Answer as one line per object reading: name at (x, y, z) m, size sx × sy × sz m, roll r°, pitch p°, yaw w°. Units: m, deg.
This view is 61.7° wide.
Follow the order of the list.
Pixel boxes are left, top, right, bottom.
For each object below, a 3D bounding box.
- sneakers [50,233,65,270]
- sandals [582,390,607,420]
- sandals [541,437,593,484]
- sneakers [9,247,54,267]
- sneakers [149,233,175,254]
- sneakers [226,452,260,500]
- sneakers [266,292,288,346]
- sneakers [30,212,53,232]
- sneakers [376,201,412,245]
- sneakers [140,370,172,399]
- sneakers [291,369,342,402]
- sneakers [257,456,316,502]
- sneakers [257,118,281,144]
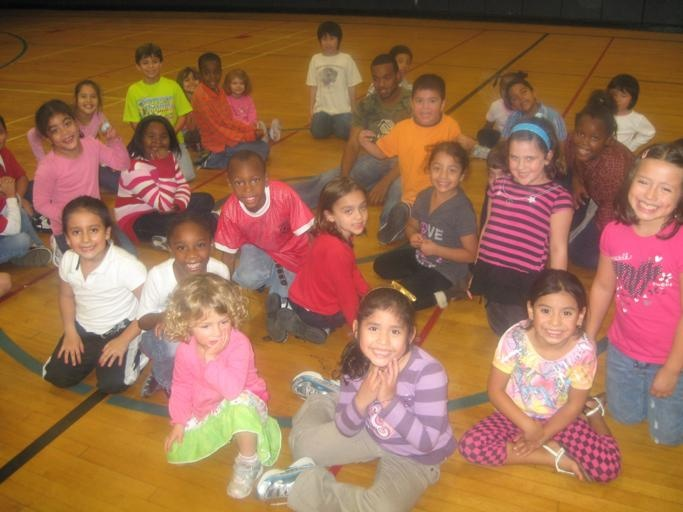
sneakers at (-2.294, -0.036, 4.631) m, size 0.109 × 0.124 × 0.310 m, roll -8°, pitch 58°, yaw -13°
sandals at (1.572, 0.917, 3.556) m, size 0.134 × 0.076 × 0.185 m, roll -2°, pitch 9°, yaw 33°
sandals at (1.294, 1.180, 3.279) m, size 0.274 × 0.127 × 0.075 m, roll 41°, pitch 24°, yaw 12°
sneakers at (-2.780, 0.012, 5.130) m, size 0.424 × 0.154 × 0.175 m, roll -5°, pitch 16°, yaw -4°
sneakers at (-1.485, -0.105, 4.752) m, size 0.180 × 0.073 × 0.183 m, roll 34°, pitch 10°, yaw 1°
sneakers at (-0.535, 1.253, 3.274) m, size 0.141 × 0.167 × 0.286 m, roll 13°, pitch 56°, yaw 4°
sneakers at (-0.487, 0.444, 4.240) m, size 0.140 × 0.319 × 0.183 m, roll 7°, pitch -12°, yaw -23°
sneakers at (-2.914, -0.314, 5.536) m, size 0.253 × 0.175 × 0.116 m, roll 20°, pitch 33°, yaw 39°
sneakers at (0.479, -0.260, 5.028) m, size 0.186 × 0.415 × 0.165 m, roll 43°, pitch 34°, yaw 22°
sneakers at (-1.257, 0.861, 3.902) m, size 0.109 × 0.128 × 0.306 m, roll 3°, pitch 9°, yaw 7°
sneakers at (-0.177, 0.850, 3.747) m, size 0.357 × 0.137 × 0.149 m, roll 0°, pitch 30°, yaw -4°
sneakers at (-0.337, 1.261, 3.252) m, size 0.329 × 0.174 × 0.126 m, roll -26°, pitch 16°, yaw -18°
sneakers at (-0.898, -1.563, 7.215) m, size 0.223 × 0.163 × 0.501 m, roll 16°, pitch 5°, yaw 1°
